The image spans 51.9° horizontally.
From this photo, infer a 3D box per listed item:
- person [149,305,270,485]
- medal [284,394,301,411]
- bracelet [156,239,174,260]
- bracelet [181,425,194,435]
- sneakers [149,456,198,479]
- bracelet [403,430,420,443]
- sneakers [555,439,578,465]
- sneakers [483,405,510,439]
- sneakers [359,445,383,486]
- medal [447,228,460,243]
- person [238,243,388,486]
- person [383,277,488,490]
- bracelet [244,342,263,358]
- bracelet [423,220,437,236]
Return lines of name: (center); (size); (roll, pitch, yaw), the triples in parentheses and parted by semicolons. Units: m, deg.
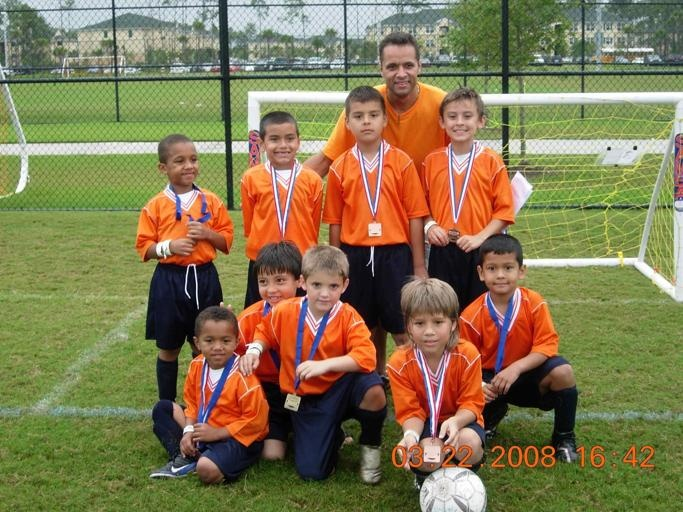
person: (-0.816, 0.877, 4.426); (0.528, 0.968, 0.594); (6, 16, 24)
medal: (-0.314, 0.940, 4.542); (0.104, 0.118, 0.015); (15, 6, 10)
bracelet: (-1.220, -0.046, 4.805); (0.102, 0.101, 0.126); (-13, -8, -3)
bracelet: (-0.982, 1.107, 4.483); (0.051, 0.043, 0.060); (6, -29, -17)
sneakers: (-1.042, 1.320, 4.414); (0.320, 0.149, 0.114); (-3, -16, -8)
bracelet: (0.423, 1.072, 4.174); (0.087, 0.077, 0.125); (3, 15, 12)
sneakers: (1.459, 1.246, 4.514); (0.146, 0.110, 0.121); (5, 15, 19)
sneakers: (1.044, 1.110, 4.726); (0.090, 0.282, 0.114); (27, 24, 27)
sneakers: (0.186, 1.323, 4.454); (0.152, 0.210, 0.442); (-6, 3, 4)
medal: (0.795, -0.144, 4.937); (0.062, 0.093, 0.036); (3, 6, 11)
person: (-0.154, 0.673, 4.561); (0.997, 1.438, 0.862); (1, 5, 34)
person: (0.581, 0.786, 4.239); (0.598, 1.172, 0.613); (0, 14, 4)
bracelet: (-0.561, 0.591, 4.529); (0.078, 0.095, 0.082); (-46, 46, -17)
bracelet: (0.647, -0.209, 5.056); (0.057, 0.086, 0.084); (15, 20, 5)
